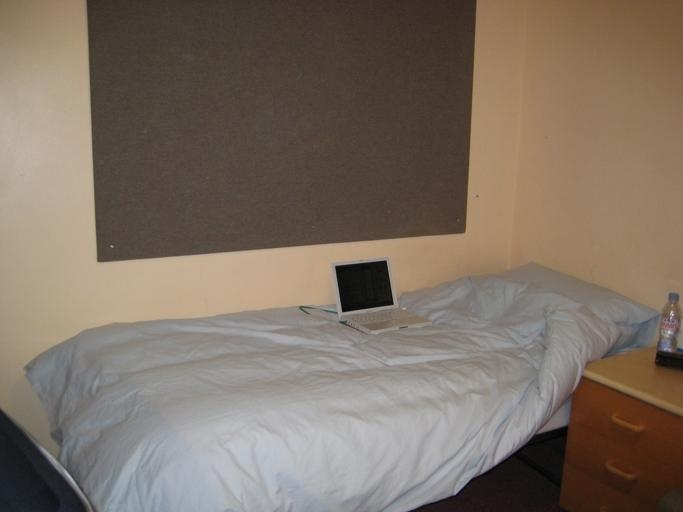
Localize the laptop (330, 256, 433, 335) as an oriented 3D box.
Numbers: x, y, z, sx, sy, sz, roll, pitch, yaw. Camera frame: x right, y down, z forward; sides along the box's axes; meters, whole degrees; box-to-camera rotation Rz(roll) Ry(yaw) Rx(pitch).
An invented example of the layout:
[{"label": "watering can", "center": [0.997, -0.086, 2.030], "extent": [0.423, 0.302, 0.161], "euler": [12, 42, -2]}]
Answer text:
[{"label": "laptop", "center": [0.216, 0.210, 2.908], "extent": [0.448, 0.351, 0.469], "euler": [-7, 8, -38]}]

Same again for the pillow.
[{"label": "pillow", "center": [1.404, 0.238, 2.816], "extent": [0.480, 0.126, 0.471], "euler": [-9, 20, -27]}]
